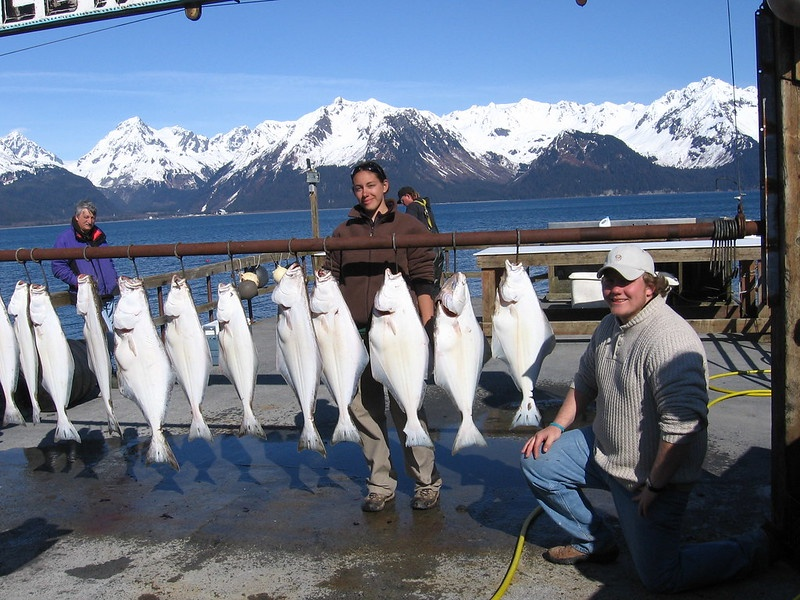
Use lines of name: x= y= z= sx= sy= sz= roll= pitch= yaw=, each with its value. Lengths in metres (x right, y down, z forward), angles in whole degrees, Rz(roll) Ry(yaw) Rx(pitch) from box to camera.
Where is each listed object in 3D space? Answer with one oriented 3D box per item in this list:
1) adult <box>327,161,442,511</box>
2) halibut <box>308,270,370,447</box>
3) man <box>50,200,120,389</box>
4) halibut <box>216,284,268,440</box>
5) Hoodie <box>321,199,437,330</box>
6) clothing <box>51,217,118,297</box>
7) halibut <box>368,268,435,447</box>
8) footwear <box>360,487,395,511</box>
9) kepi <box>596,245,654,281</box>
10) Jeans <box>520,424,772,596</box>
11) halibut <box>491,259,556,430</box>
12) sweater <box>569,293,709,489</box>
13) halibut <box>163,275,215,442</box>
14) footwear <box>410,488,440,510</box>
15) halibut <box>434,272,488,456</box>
adult: x=-0.151 y=0.202 z=5.335 sx=0.720 sy=2.333 sz=0.673 roll=-3 pitch=-1 yaw=6
halibut: x=-0.390 y=0.368 z=5.046 sx=0.372 sy=1.141 sz=0.408 roll=-4 pitch=12 yaw=-7
man: x=-3.171 y=-0.051 z=7.887 sx=0.643 sy=1.961 sz=0.616 roll=-13 pitch=28 yaw=-24
halibut: x=-1.111 y=0.421 z=5.236 sx=0.253 sy=1.079 sz=0.506 roll=-6 pitch=13 yaw=-14
Hoodie: x=-0.173 y=-0.257 z=5.460 sx=0.856 sy=0.924 sz=0.376 roll=0 pitch=-12 yaw=8
clothing: x=-3.194 y=-0.366 z=7.813 sx=0.387 sy=0.811 sz=0.644 roll=0 pitch=8 yaw=35
halibut: x=-0.005 y=0.428 z=5.019 sx=0.404 sy=1.275 sz=0.299 roll=-2 pitch=12 yaw=1
footwear: x=-0.161 y=1.429 z=5.413 sx=0.223 sy=0.112 sz=0.099 roll=1 pitch=-1 yaw=-23
kepi: x=1.310 y=-0.209 z=4.376 sx=0.320 sy=0.194 sz=0.252 roll=0 pitch=14 yaw=14
Jeans: x=1.418 y=1.276 z=4.587 sx=0.859 sy=1.265 sz=0.393 roll=-28 pitch=-24 yaw=33
halibut: x=0.809 y=0.282 z=5.026 sx=0.417 sy=1.201 sz=0.170 roll=-2 pitch=-30 yaw=1
sweater: x=1.425 y=0.518 z=4.536 sx=0.553 sy=1.125 sz=1.115 roll=-4 pitch=12 yaw=-20
halibut: x=-1.471 y=0.429 z=5.311 sx=0.299 sy=1.219 sz=0.559 roll=-7 pitch=13 yaw=-21
footwear: x=0.178 y=1.396 z=5.335 sx=0.212 sy=0.113 sz=0.101 roll=-3 pitch=13 yaw=-1
halibut: x=0.386 y=0.465 z=4.979 sx=0.333 sy=1.315 sz=0.435 roll=-1 pitch=12 yaw=6
